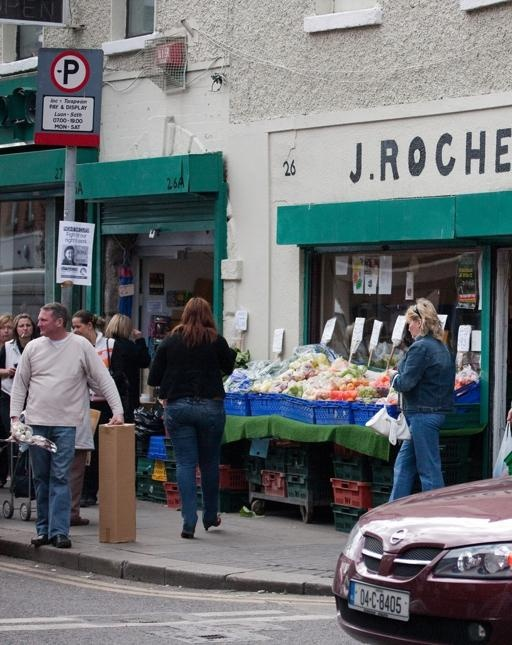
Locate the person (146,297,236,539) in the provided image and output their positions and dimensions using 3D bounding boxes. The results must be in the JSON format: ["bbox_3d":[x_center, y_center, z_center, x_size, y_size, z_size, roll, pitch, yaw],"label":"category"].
[{"bbox_3d":[-0.483,0.725,9.089,0.643,1.815,0.389,1,-1,-31],"label":"person"}]

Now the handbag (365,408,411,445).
[{"bbox_3d":[1.010,0.788,8.938,0.217,0.223,0.123,24,-4,-19],"label":"handbag"}]

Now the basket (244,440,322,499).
[{"bbox_3d":[0.283,1.281,10.437,0.287,0.486,0.788,1,-2,-42],"label":"basket"}]

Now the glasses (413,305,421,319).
[{"bbox_3d":[1.227,-0.087,8.994,0.030,0.079,0.053,-16,7,-36],"label":"glasses"}]

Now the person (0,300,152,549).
[{"bbox_3d":[-1.400,0.733,8.662,0.767,1.742,0.549,0,-1,-14],"label":"person"}]

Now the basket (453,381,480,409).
[{"bbox_3d":[1.758,0.585,9.781,0.103,0.174,0.432,-1,-1,29],"label":"basket"}]
